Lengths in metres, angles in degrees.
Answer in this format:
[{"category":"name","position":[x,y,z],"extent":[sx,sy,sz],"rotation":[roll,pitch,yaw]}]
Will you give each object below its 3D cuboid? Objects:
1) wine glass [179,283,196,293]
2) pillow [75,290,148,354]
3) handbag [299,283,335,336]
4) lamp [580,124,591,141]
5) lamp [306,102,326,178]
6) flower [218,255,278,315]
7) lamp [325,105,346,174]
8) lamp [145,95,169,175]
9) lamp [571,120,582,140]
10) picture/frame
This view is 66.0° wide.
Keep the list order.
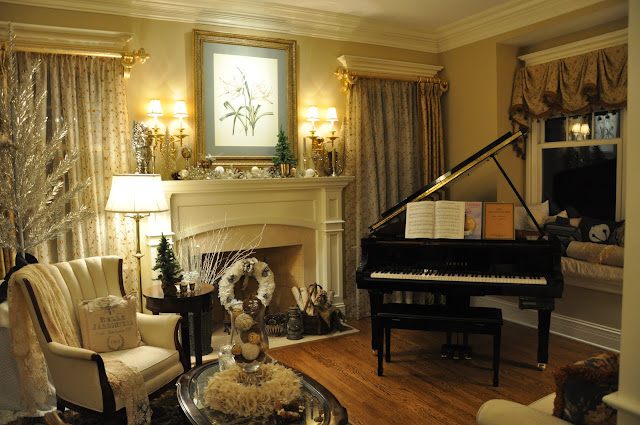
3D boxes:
[{"category":"wine glass","position":[-1.394,0.790,5.189],"extent":[0.112,0.084,0.126],"rotation":[0,-5,12]},{"category":"pillow","position":[-1.985,1.045,4.616],"extent":[0.512,0.486,0.193],"rotation":[-3,-21,-29]},{"category":"handbag","position":[-0.050,1.241,6.177],"extent":[0.412,0.723,0.621],"rotation":[-2,-2,29]},{"category":"lamp","position":[3.483,-1.063,6.468],"extent":[0.165,0.238,0.167],"rotation":[-1,3,17]},{"category":"lamp","position":[-0.073,-0.986,6.695],"extent":[0.340,0.903,0.270],"rotation":[-5,15,-12]},{"category":"flower","position":[-0.929,0.887,6.242],"extent":[0.727,0.777,0.286],"rotation":[9,-10,-33]},{"category":"lamp","position":[0.203,-0.981,6.781],"extent":[0.218,0.914,0.351],"rotation":[-1,15,2]},{"category":"lamp","position":[-1.953,-0.907,5.871],"extent":[0.248,0.860,0.261],"rotation":[-6,15,-16]},{"category":"lamp","position":[3.411,-1.093,6.554],"extent":[0.040,0.237,0.141],"rotation":[-10,17,-28]},{"category":"picture/frame","position":[-0.994,-1.480,6.283],"extent":[1.853,2.114,0.088],"rotation":[-2,2,-28]}]
